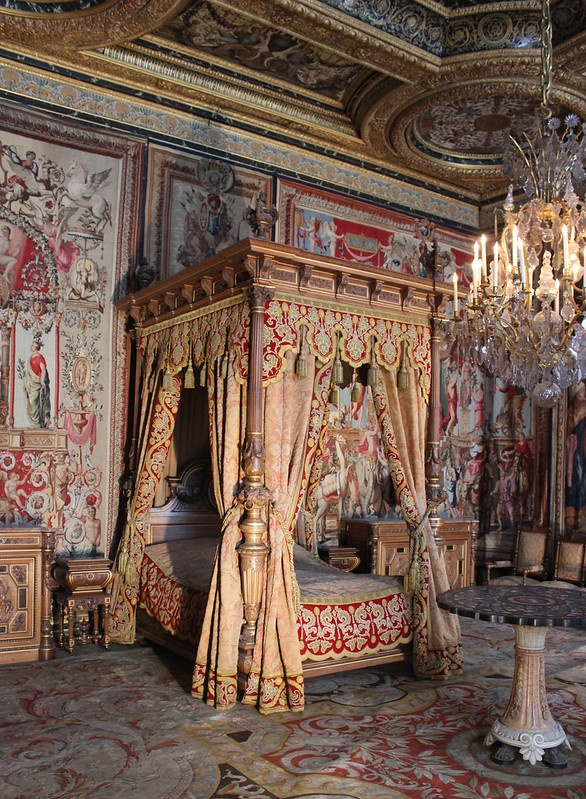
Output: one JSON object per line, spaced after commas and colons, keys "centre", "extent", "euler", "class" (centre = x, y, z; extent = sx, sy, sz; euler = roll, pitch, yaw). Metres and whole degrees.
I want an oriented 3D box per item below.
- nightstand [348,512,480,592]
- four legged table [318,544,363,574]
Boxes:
{"centre": [1.120, 1.495, 7.827], "extent": [1.472, 1.163, 0.537], "euler": [4, -9, -26], "class": "nightstand"}
{"centre": [0.507, 1.700, 8.551], "extent": [0.347, 0.200, 0.346], "euler": [2, -4, -30], "class": "four legged table"}
